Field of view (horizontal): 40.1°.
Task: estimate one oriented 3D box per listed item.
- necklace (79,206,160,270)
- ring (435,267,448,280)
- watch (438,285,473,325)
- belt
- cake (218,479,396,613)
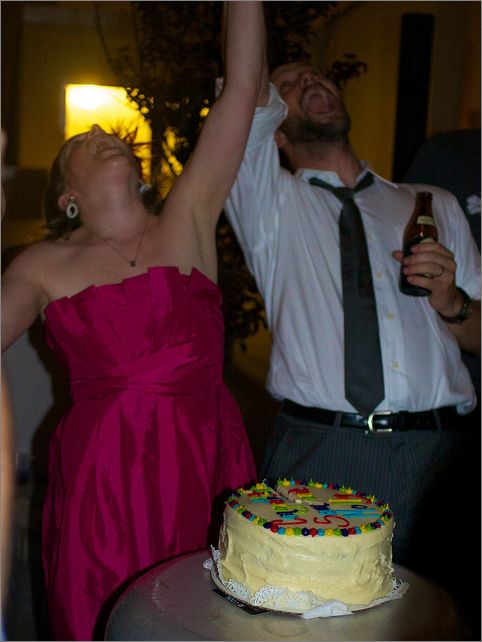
[{"bbox_3d":[-0.287,-0.192,1.566,0.137,0.027,0.149,-20,47,-5],"label":"necklace"},{"bbox_3d":[0.411,-0.096,1.359,0.020,0.007,0.020,-34,5,3],"label":"ring"},{"bbox_3d":[0.495,-0.035,1.496,0.029,0.078,0.074,20,-37,-27],"label":"watch"},{"bbox_3d":[0.292,0.219,1.419,0.386,0.075,0.129,-1,9,0],"label":"belt"},{"bbox_3d":[0.118,0.337,0.990,0.171,0.080,0.165,4,3,-44],"label":"cake"}]
